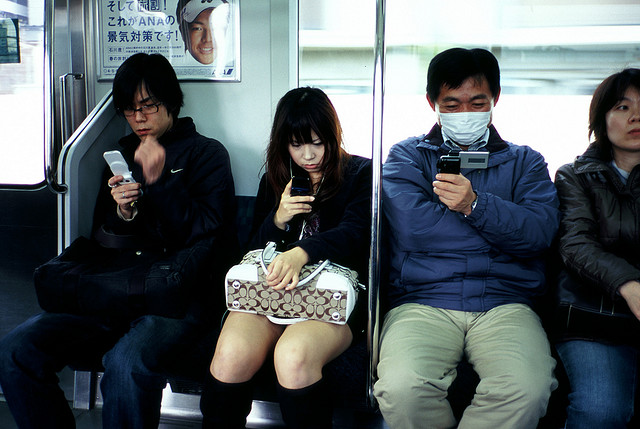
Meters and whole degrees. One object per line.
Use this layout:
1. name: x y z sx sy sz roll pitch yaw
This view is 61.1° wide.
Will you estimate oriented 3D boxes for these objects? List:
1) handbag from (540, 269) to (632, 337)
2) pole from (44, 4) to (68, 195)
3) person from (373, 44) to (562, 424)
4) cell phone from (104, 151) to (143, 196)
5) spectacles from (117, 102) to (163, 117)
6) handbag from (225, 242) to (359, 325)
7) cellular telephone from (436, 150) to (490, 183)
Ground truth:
1. handbag: 1.363 0.468 2.816 0.397 0.379 0.148 -8 -42 15
2. pole: -1.667 -0.711 3.380 0.120 1.149 0.392 -1 8 -36
3. person: 0.789 0.060 2.834 0.955 1.917 0.829 4 6 5
4. cell phone: -1.145 -0.235 3.110 0.142 0.305 0.030 -12 -32 -32
5. spectacles: -1.093 -0.641 3.276 0.272 0.088 0.071 5 7 13
6. handbag: -0.109 0.345 2.906 0.672 0.284 0.459 3 15 15
7. cellular telephone: 0.723 -0.247 2.772 0.276 0.167 0.135 2 7 -8
